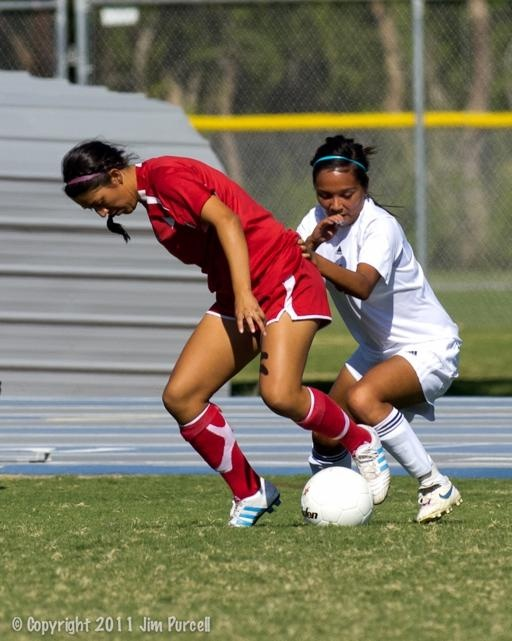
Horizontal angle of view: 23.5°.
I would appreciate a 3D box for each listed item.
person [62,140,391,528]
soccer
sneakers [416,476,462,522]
[{"bbox_3d":[-0.095,0.059,4.216,1.057,1.349,0.544,1,5,9],"label":"person"},{"bbox_3d":[0.293,0.617,4.321,0.239,0.188,0.208,6,1,9],"label":"soccer"},{"bbox_3d":[0.667,0.646,4.476,0.126,0.178,0.228,3,5,35],"label":"sneakers"}]
